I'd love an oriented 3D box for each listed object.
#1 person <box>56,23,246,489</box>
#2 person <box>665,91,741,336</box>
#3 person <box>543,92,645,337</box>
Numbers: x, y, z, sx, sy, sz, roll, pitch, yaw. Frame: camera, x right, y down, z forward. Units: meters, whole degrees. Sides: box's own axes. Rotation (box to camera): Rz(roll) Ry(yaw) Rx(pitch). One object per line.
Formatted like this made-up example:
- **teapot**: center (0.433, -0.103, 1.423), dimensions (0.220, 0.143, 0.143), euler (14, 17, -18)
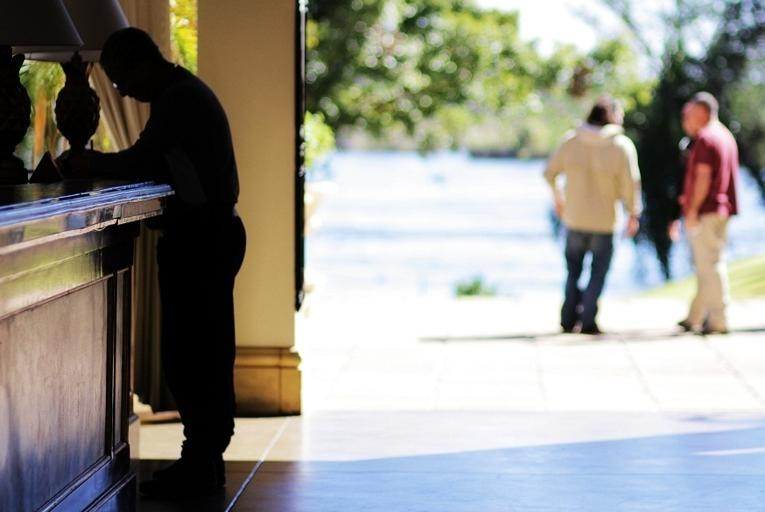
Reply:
- **person**: center (-0.973, 0.075, 3.751), dimensions (0.662, 2.215, 0.349), euler (-2, 7, -10)
- **person**: center (2.754, -0.360, 6.848), dimensions (0.461, 1.992, 0.370), euler (2, 8, 23)
- **person**: center (1.805, -0.360, 6.997), dimensions (0.801, 2.013, 0.434), euler (1, 7, 11)
